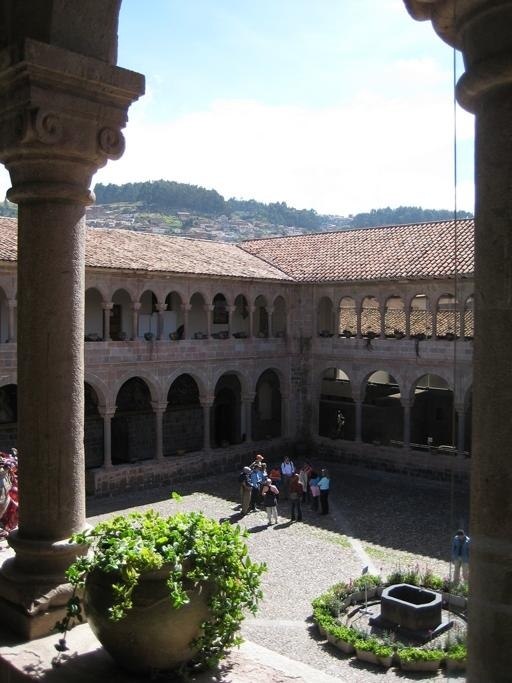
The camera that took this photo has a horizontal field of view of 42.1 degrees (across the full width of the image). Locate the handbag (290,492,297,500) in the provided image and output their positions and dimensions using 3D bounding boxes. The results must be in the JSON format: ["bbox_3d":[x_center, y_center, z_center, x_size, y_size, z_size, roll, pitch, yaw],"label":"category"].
[{"bbox_3d":[0.826,3.446,14.729,0.166,0.153,0.039,-2,-11,28],"label":"handbag"}]

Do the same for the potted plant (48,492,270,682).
[{"bbox_3d":[-0.429,1.073,2.855,0.819,0.536,0.718,2,1,-23],"label":"potted plant"}]
